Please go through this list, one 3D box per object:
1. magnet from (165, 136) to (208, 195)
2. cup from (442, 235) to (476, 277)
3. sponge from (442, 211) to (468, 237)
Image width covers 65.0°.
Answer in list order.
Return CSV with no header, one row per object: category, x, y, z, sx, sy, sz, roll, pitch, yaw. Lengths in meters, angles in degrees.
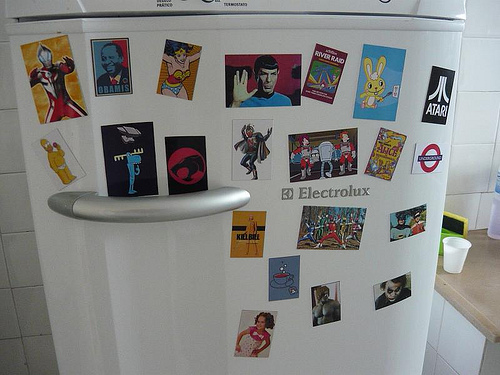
magnet,-0.127,-0.046,0.796,0.082,0.117,0.025,-3,18,-14
cup,0.724,0.238,1.441,0.108,0.131,0.117,9,17,-3
sponge,0.783,0.144,1.515,0.052,0.082,0.110,-7,18,-10
